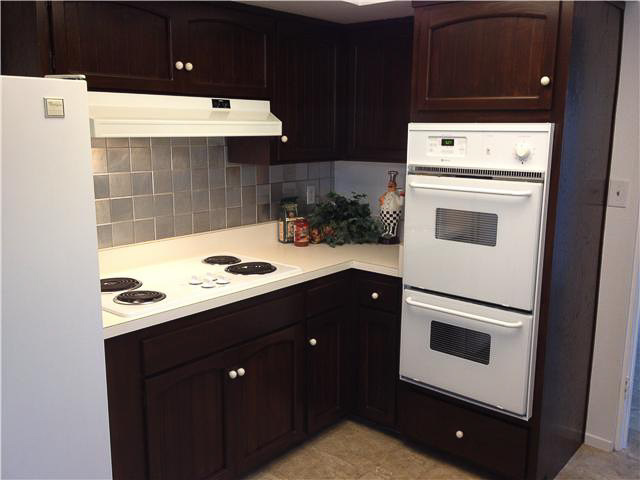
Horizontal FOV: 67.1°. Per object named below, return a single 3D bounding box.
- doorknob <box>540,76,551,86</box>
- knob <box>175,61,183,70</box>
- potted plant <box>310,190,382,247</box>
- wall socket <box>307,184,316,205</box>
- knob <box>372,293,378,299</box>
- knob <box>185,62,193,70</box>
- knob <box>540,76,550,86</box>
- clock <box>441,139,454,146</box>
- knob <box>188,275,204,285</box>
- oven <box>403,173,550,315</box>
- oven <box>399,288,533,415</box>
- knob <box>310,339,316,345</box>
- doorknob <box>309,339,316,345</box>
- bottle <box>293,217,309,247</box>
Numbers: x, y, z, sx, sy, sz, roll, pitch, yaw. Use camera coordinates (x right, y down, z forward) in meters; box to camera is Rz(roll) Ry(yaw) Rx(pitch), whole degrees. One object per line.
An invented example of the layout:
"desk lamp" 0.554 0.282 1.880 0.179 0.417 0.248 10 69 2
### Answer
"doorknob" 0.990 -0.701 2.131 0.035 0.038 0.019 10 2 24
"knob" -0.684 -0.854 2.361 0.041 0.036 0.022 -9 18 -39
"potted plant" 0.127 -0.241 3.393 0.353 0.281 0.354 -10 -3 42
"wall socket" -0.062 -0.329 3.500 0.016 0.140 0.084 14 18 39
"knob" 0.314 0.321 2.783 0.024 0.020 0.028 0 11 -4
"knob" -0.645 -0.863 2.403 0.021 0.033 0.050 9 16 23
"knob" 0.988 -0.698 2.132 0.035 0.037 0.019 7 1 27
"clock" 0.627 -0.480 2.383 0.067 0.034 0.003 14 18 35
"knob" -0.611 0.193 2.384 0.037 0.021 0.055 -9 13 -36
"oven" 0.840 0.009 2.527 0.538 0.702 0.739 -4 10 -44
"oven" 0.838 0.547 2.643 0.723 0.531 0.567 7 10 34
"knob" -0.039 0.564 2.680 0.032 0.047 0.024 1 55 -1
"doorknob" -0.035 0.568 2.693 0.045 0.032 0.022 -8 18 -36
"bottle" -0.124 -0.056 3.202 0.105 0.192 0.108 1 12 0
